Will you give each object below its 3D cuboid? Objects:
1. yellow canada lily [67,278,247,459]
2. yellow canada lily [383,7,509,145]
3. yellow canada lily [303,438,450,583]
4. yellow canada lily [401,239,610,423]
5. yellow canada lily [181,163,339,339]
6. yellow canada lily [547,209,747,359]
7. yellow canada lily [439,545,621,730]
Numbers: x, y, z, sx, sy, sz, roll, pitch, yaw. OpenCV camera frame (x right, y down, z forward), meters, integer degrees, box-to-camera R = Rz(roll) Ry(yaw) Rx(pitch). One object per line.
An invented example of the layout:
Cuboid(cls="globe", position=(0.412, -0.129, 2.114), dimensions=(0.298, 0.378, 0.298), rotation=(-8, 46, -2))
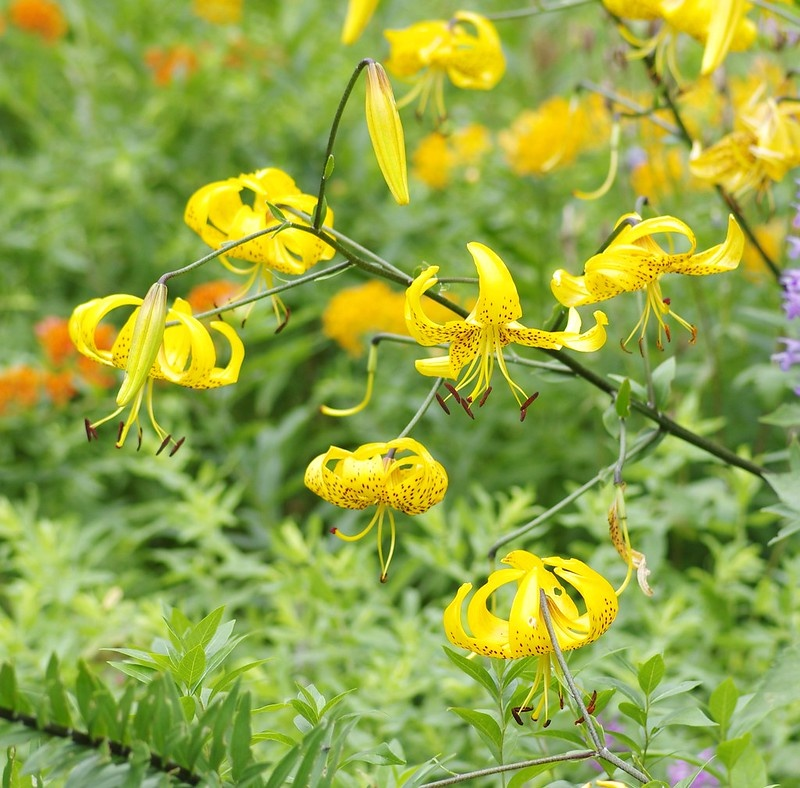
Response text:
Cuboid(cls="yellow canada lily", position=(-0.236, -0.013, 1.113), dimensions=(0.120, 0.130, 0.152), rotation=(9, 81, 8))
Cuboid(cls="yellow canada lily", position=(0.041, -0.348, 1.276), dimensions=(0.123, 0.129, 0.126), rotation=(16, 78, -19))
Cuboid(cls="yellow canada lily", position=(-0.019, 0.115, 1.141), dimensions=(0.112, 0.117, 0.142), rotation=(-1, 90, -42))
Cuboid(cls="yellow canada lily", position=(0.081, -0.056, 1.099), dimensions=(0.178, 0.178, 0.171), rotation=(-11, 92, -23))
Cuboid(cls="yellow canada lily", position=(-0.122, -0.139, 1.199), dimensions=(0.153, 0.148, 0.183), rotation=(0, 83, -50))
Cuboid(cls="yellow canada lily", position=(0.237, -0.093, 1.138), dimensions=(0.186, 0.193, 0.142), rotation=(0, 82, -31))
Cuboid(cls="yellow canada lily", position=(0.126, 0.229, 1.091), dimensions=(0.153, 0.149, 0.183), rotation=(-6, 89, -31))
